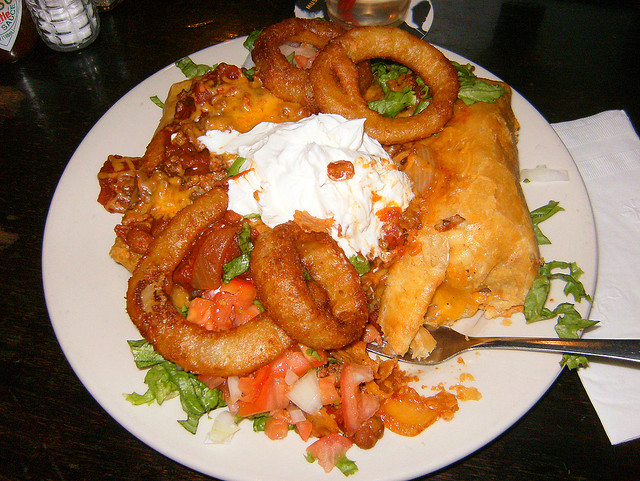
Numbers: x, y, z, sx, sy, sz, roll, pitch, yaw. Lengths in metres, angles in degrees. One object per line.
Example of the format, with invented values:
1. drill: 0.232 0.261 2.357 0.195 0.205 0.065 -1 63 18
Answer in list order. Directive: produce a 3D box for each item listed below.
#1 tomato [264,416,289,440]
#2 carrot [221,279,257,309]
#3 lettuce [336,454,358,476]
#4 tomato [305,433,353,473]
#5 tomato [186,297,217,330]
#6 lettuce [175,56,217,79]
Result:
1. tomato: -0.319 1.385 4.407 0.169 0.072 0.151 10 71 0
2. carrot: -0.637 0.391 4.655 0.273 0.054 0.175 29 72 7
3. lettuce: 0.197 1.603 4.259 0.108 0.025 0.134 -39 78 -15
4. tomato: 0.064 1.509 4.298 0.205 0.067 0.277 35 59 24
5. tomato: -0.913 0.553 4.592 0.235 0.090 0.215 13 76 -28
6. lettuce: -1.179 -1.603 5.552 0.294 0.065 0.235 -13 67 -12
